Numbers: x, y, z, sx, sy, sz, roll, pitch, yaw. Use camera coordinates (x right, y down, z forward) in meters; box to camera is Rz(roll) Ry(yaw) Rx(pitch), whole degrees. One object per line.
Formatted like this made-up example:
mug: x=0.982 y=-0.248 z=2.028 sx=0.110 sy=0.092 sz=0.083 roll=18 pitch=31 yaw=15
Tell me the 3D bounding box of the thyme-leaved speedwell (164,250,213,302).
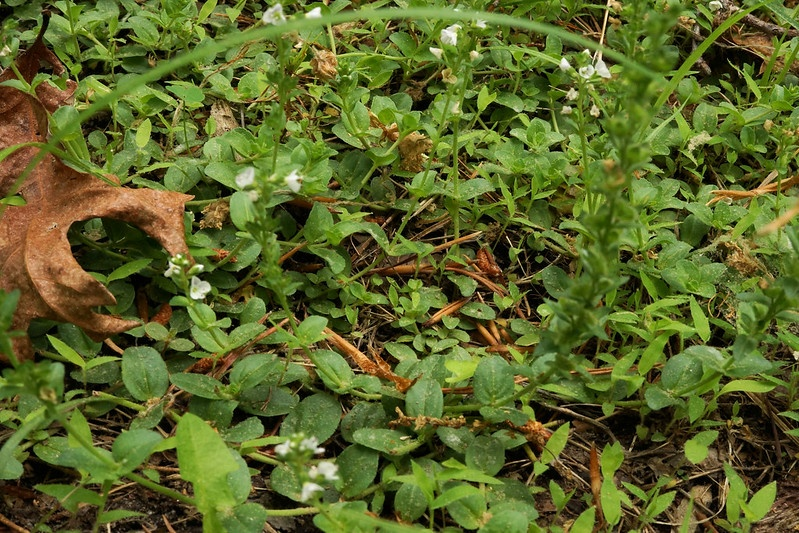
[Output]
thyme-leaved speedwell: x=-1.148 y=0.039 z=3.739 sx=0.250 sy=0.328 sz=0.226 roll=-4 pitch=69 yaw=-7
